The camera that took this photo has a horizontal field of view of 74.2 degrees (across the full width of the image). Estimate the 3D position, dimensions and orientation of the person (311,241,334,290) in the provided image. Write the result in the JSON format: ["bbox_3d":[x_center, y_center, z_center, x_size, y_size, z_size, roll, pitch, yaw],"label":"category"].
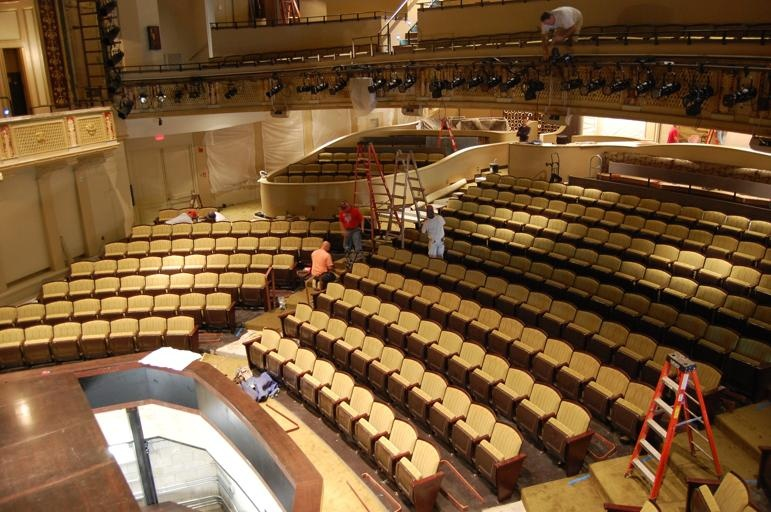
[{"bbox_3d":[-1.518,0.285,12.649,0.588,1.325,0.678,1,26,-2],"label":"person"}]

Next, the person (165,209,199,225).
[{"bbox_3d":[-6.833,-1.389,17.176,0.799,0.345,0.602,-30,36,-34],"label":"person"}]

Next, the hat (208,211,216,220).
[{"bbox_3d":[-5.878,-1.346,17.280,0.220,0.297,0.258,-1,1,-5],"label":"hat"}]
